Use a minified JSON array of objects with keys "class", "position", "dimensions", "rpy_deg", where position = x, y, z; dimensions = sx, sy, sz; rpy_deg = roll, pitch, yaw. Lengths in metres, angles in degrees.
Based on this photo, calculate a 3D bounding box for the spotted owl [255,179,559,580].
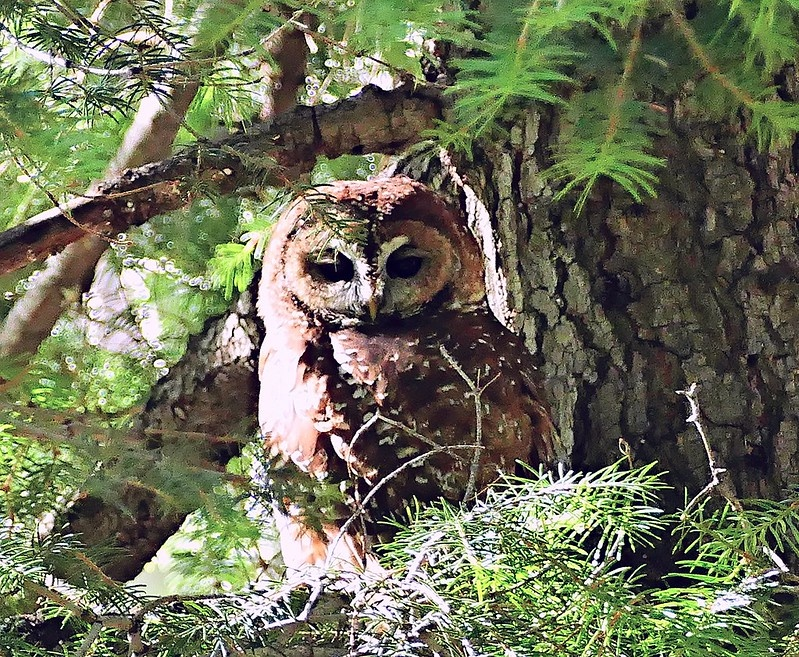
[{"class":"spotted owl","position":[-0.010,0.083,1.766],"dimensions":[0.332,0.326,0.496],"rpy_deg":[15,61,-45]}]
